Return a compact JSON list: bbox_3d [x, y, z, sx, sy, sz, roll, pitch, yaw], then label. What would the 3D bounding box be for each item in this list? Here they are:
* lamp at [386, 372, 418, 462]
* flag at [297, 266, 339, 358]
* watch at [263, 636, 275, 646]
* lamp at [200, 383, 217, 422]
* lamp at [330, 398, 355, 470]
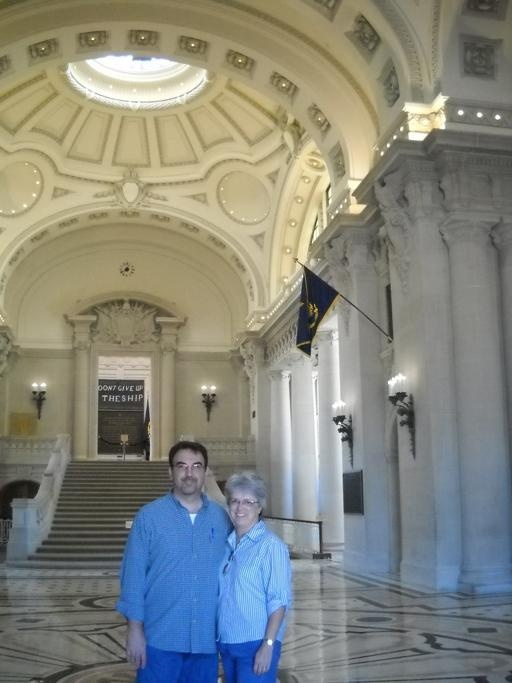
[{"bbox_3d":[2.520,1.255,9.983,0.554,1.179,0.874,10,5,2],"label":"lamp"},{"bbox_3d":[1.134,-0.602,11.466,0.459,1.308,1.099,7,6,-23],"label":"flag"},{"bbox_3d":[0.048,1.096,2.090,0.033,0.020,0.030,14,-14,-12],"label":"watch"},{"bbox_3d":[-2.038,2.615,24.221,0.738,0.967,0.511,9,5,-4],"label":"lamp"},{"bbox_3d":[1.840,1.980,12.159,0.408,1.312,0.320,-3,-7,16],"label":"lamp"}]
